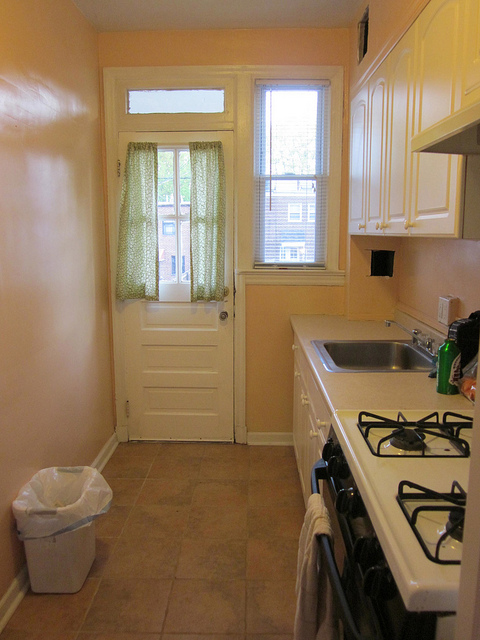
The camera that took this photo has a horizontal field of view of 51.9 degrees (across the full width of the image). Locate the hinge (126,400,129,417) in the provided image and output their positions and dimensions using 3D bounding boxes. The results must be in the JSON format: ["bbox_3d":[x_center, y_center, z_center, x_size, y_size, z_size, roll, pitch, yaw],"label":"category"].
[{"bbox_3d":[-0.761,0.606,3.346,0.020,0.109,0.005,-4,9,-29],"label":"hinge"}]

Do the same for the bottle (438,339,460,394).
[{"bbox_3d":[0.688,0.156,1.625,0.067,0.182,0.040,4,9,27],"label":"bottle"}]

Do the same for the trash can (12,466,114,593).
[{"bbox_3d":[-0.730,0.845,2.007,0.277,0.417,0.354,0,9,-2],"label":"trash can"}]
